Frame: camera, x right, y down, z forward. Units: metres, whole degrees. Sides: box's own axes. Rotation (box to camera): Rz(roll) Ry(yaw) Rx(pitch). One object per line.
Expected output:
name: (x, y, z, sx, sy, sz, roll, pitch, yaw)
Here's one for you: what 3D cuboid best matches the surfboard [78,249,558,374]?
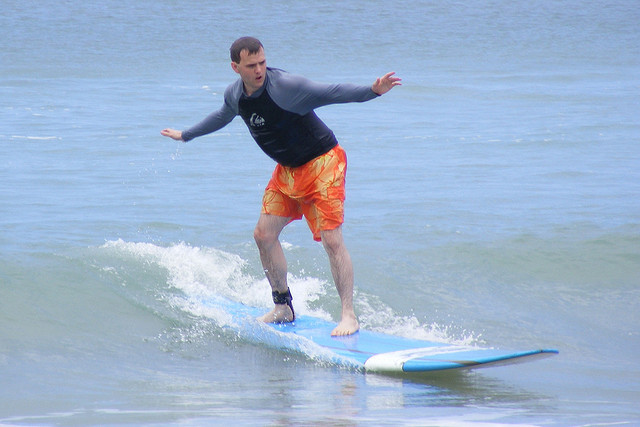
surfboard: (-0.191, 1.630, 19.143, 8.047, 0.664, 1.360, 7, 10, 31)
